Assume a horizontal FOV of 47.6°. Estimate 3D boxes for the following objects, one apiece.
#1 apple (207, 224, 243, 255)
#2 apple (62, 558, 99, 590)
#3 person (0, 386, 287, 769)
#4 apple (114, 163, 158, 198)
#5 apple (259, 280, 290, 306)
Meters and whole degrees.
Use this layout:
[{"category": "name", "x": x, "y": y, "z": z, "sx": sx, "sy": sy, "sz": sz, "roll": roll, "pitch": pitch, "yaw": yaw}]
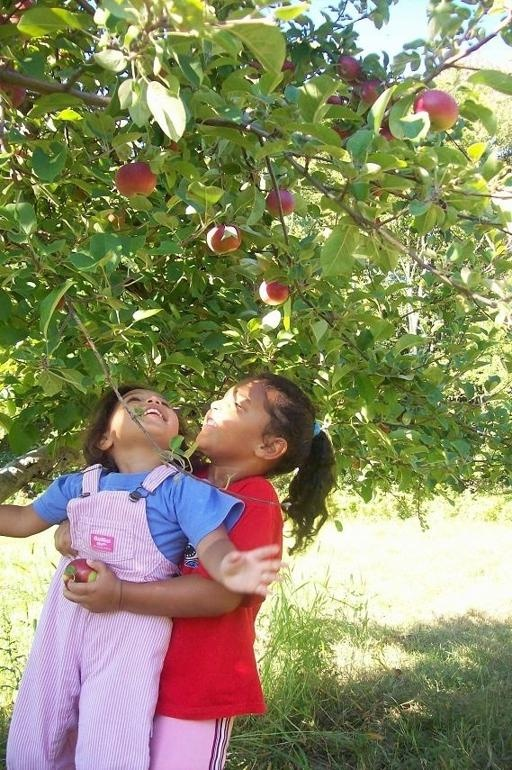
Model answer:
[{"category": "apple", "x": -0.068, "y": -0.307, "z": 1.234, "sx": 0.073, "sy": 0.073, "sz": 0.067, "roll": 7, "pitch": 23, "yaw": 16}, {"category": "apple", "x": -0.318, "y": 0.341, "z": 1.061, "sx": 0.043, "sy": 0.034, "sz": 0.046, "roll": 11, "pitch": -19, "yaw": 5}, {"category": "person", "x": -0.260, "y": 0.366, "z": 1.120, "sx": 0.411, "sy": 0.753, "sz": 0.734, "roll": 3, "pitch": -4, "yaw": -25}, {"category": "apple", "x": -0.256, "y": -0.443, "z": 1.243, "sx": 0.084, "sy": 0.073, "sz": 0.073, "roll": 2, "pitch": -3, "yaw": 0}, {"category": "apple", "x": 0.050, "y": -0.228, "z": 1.451, "sx": 0.066, "sy": 0.065, "sz": 0.061, "roll": -2, "pitch": 3, "yaw": 8}]
